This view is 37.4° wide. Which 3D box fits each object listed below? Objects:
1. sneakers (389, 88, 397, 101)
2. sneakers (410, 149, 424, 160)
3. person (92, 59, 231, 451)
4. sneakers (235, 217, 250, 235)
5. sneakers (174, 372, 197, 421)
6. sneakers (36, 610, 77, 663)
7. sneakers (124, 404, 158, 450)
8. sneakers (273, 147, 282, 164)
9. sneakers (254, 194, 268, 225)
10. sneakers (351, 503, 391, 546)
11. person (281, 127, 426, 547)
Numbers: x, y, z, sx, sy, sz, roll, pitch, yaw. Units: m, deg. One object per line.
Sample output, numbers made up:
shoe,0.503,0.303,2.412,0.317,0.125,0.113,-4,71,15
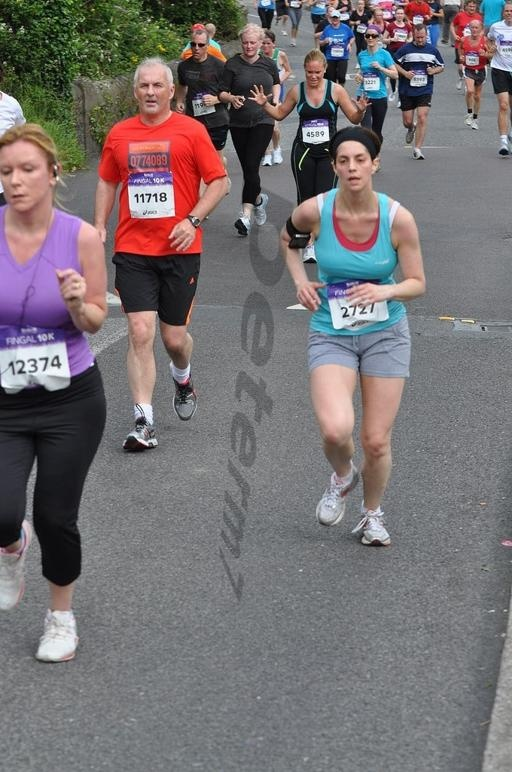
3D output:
sneakers,4.266,-9.151,23.791,0.234,0.250,0.658,6,40,15
sneakers,3.327,-4.754,15.517,0.141,0.140,0.344,-5,18,-1
person,-0.575,-0.841,4.691,0.790,2.380,0.692,-3,10,-19
sneakers,-0.193,-2.217,10.396,0.130,0.325,0.150,2,48,3
sneakers,-0.466,0.072,5.073,0.126,0.293,0.189,-6,2,-1
sneakers,-0.631,0.791,2.409,0.093,0.079,0.193,0,3,-1
sneakers,-0.681,0.270,4.536,0.139,0.249,0.337,-4,-5,17
sneakers,0.458,-4.587,15.075,0.158,0.185,0.444,-1,39,3
sneakers,0.090,-2.581,11.077,0.179,0.494,0.209,2,19,11
sneakers,0.535,0.636,3.407,0.117,0.084,0.195,-1,0,0
person,0.430,-0.178,3.262,0.513,1.792,0.564,-1,10,-7
